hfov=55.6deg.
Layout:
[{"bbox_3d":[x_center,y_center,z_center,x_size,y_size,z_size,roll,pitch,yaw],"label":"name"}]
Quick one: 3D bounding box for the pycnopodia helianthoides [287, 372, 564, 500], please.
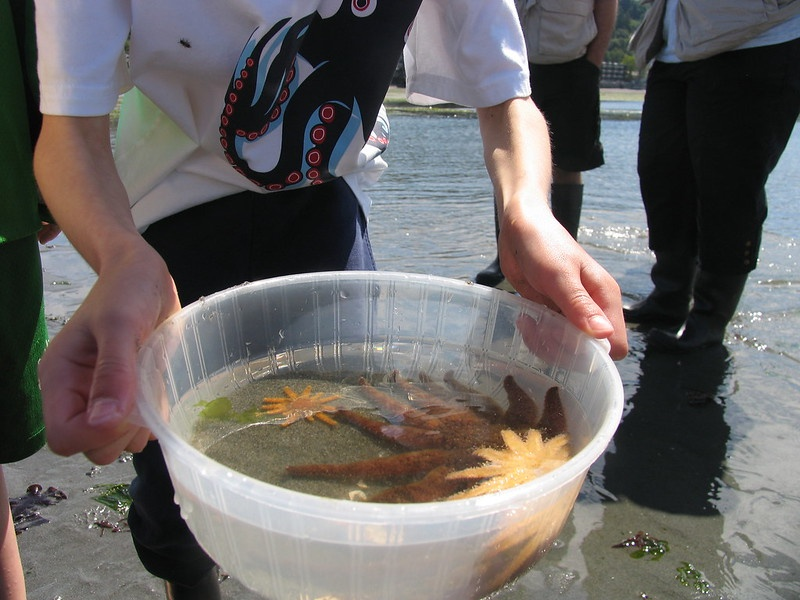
[{"bbox_3d":[0.137,0.394,1.988,0.379,0.073,0.388,-16,18,-38],"label":"pycnopodia helianthoides"}]
